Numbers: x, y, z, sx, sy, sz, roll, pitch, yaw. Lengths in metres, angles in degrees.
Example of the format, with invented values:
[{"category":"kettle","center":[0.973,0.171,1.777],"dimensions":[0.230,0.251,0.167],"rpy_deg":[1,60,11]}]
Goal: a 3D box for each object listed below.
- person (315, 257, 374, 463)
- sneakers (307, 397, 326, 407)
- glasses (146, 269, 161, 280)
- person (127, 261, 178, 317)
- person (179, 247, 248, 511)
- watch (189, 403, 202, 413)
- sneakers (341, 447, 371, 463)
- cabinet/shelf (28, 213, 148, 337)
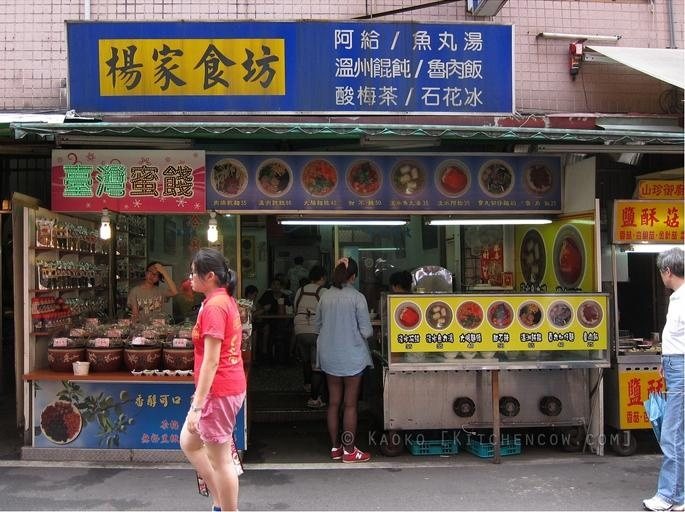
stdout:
[{"category":"person","center":[0.043,1.305,10.420],"dimensions":[0.649,2.443,0.959],"rpy_deg":[-2,11,-13]},{"category":"sneakers","center":[-0.375,2.109,11.977],"dimensions":[0.288,0.126,0.106],"rpy_deg":[2,-3,-28]},{"category":"glasses","center":[-2.626,0.249,11.641],"dimensions":[0.121,0.161,0.068],"rpy_deg":[2,6,1]},{"category":"person","center":[-2.710,0.597,11.628],"dimensions":[0.671,0.994,0.554],"rpy_deg":[7,-10,-36]},{"category":"person","center":[-1.321,1.275,8.451],"dimensions":[0.624,2.596,0.741],"rpy_deg":[0,11,-3]},{"category":"watch","center":[-1.450,1.498,8.206],"dimensions":[0.108,0.067,0.073],"rpy_deg":[-1,11,-7]},{"category":"sneakers","center":[0.163,2.466,10.289],"dimensions":[0.375,0.169,0.140],"rpy_deg":[0,-2,-23]},{"category":"cabinet/shelf","center":[-3.507,0.143,11.654],"dimensions":[0.498,1.931,3.076],"rpy_deg":[1,12,6]}]
